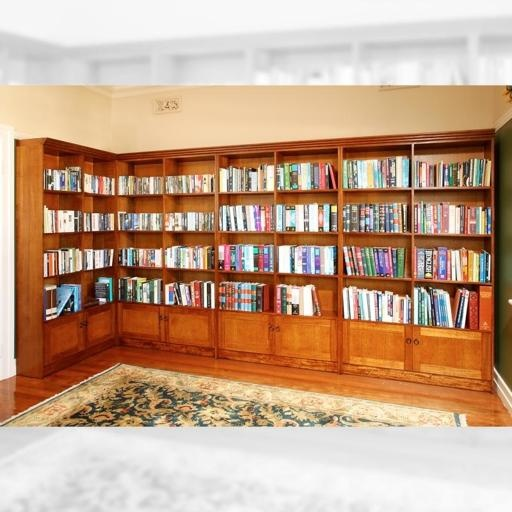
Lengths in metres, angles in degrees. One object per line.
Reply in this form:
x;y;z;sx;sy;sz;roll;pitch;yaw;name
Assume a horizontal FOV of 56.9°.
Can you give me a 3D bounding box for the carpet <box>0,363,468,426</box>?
-0.232;0.946;3.183;2.495;0.172;1.201;-2;5;1;carpet
